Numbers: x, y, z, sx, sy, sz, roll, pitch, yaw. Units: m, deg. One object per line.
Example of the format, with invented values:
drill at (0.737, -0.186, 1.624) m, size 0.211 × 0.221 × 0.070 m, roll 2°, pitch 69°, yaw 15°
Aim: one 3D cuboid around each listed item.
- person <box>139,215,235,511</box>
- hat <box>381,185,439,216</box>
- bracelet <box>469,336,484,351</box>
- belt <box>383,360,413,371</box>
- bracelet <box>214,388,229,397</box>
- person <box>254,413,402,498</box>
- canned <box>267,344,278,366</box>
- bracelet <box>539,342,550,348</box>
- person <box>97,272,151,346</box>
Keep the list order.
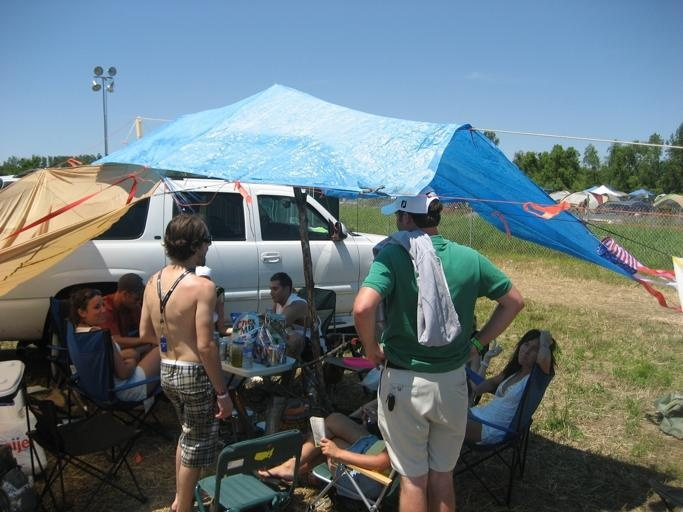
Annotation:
person at (-1.156, 0.793, 4.510) m, size 0.465 × 2.162 × 0.713 m, roll -7°, pitch 16°, yaw -31°
hat at (0.478, -0.389, 4.170) m, size 0.284 × 0.176 × 0.201 m, roll 2°, pitch 5°, yaw 10°
bracelet at (0.949, 0.617, 4.224) m, size 0.035 × 0.127 × 0.119 m, roll -31°, pitch -6°, yaw -21°
belt at (0.363, 0.728, 3.954) m, size 0.194 × 0.054 × 0.027 m, roll 11°, pitch 17°, yaw 31°
bracelet at (-0.893, 1.006, 4.404) m, size 0.069 × 0.053 × 0.096 m, roll -1°, pitch 2°, yaw -26°
person at (-0.108, 1.581, 4.789) m, size 1.135 × 0.666 × 0.485 m, roll -1°, pitch -4°, yaw 16°
canned at (-0.591, 0.846, 5.167) m, size 0.098 × 0.155 × 0.087 m, roll -9°, pitch 18°, yaw -36°
bracelet at (1.709, 0.738, 4.996) m, size 0.053 × 0.048 × 0.056 m, roll 4°, pitch 7°, yaw 37°
person at (-2.124, 0.533, 5.806) m, size 0.489 × 0.804 × 0.550 m, roll 4°, pitch 7°, yaw 12°
